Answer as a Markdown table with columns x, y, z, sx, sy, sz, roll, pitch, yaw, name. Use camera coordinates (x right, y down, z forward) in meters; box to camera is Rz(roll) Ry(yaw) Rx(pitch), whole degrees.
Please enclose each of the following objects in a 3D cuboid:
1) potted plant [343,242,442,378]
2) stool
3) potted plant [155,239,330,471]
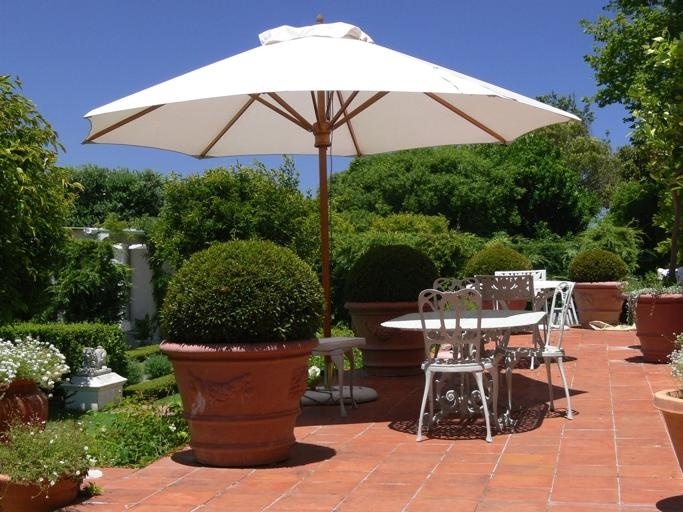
| x | y | z | sx | sy | sz | roll | pitch | yaw | name |
| --- | --- | --- | --- | --- | --- | --- | --- | --- | --- |
| 0.792 | 0.696 | 8.457 | 1.226 | 1.787 | 1.356 | -3 | -4 | 26 | potted plant |
| -0.189 | 1.276 | 6.461 | 0.678 | 0.758 | 0.719 | -3 | 1 | 28 | stool |
| -0.837 | 0.748 | 5.191 | 1.255 | 1.847 | 1.403 | 0 | -8 | -10 | potted plant |
